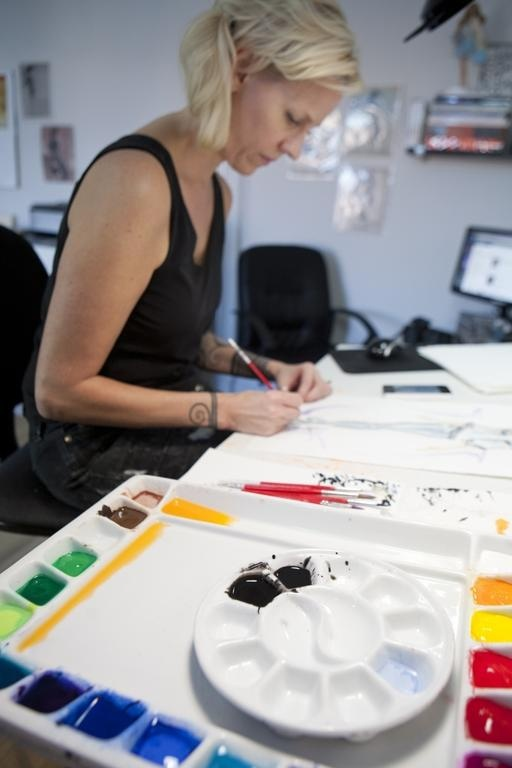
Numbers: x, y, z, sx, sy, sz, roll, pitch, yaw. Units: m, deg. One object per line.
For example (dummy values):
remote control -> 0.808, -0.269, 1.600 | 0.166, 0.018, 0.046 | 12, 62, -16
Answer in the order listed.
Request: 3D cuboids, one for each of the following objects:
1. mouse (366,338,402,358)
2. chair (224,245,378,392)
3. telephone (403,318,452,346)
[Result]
mouse -> 0.267, -0.073, 1.251 | 0.058, 0.029, 0.074 | 2, 27, 19
chair -> 0.117, -0.133, 1.997 | 0.389, 0.601, 0.405 | 0, 22, 1
telephone -> 0.554, -0.164, 1.919 | 0.092, 0.036, 0.095 | 7, 40, 8
